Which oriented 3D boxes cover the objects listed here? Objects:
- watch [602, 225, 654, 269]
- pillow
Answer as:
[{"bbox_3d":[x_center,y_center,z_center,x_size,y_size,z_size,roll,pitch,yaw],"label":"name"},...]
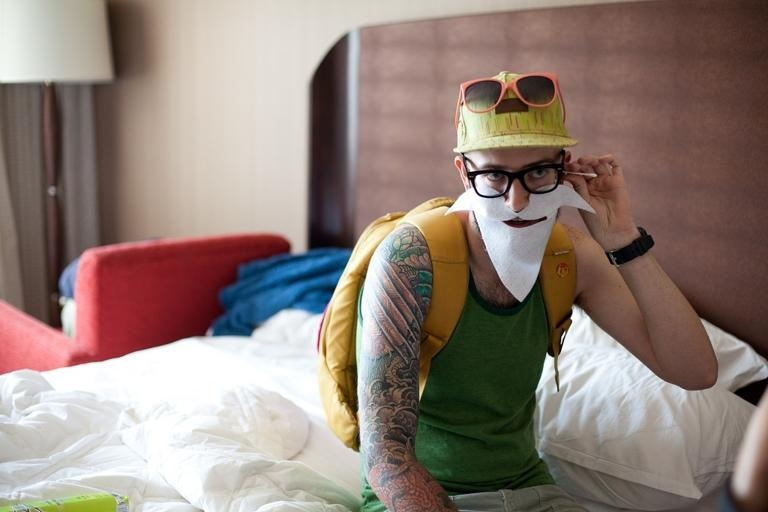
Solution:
[{"bbox_3d":[0.668,-0.016,1.715,0.101,0.111,0.103,-34,-9,18],"label":"watch"},{"bbox_3d":[0.687,0.493,2.043,0.806,0.263,0.805,-12,25,-42],"label":"pillow"}]
